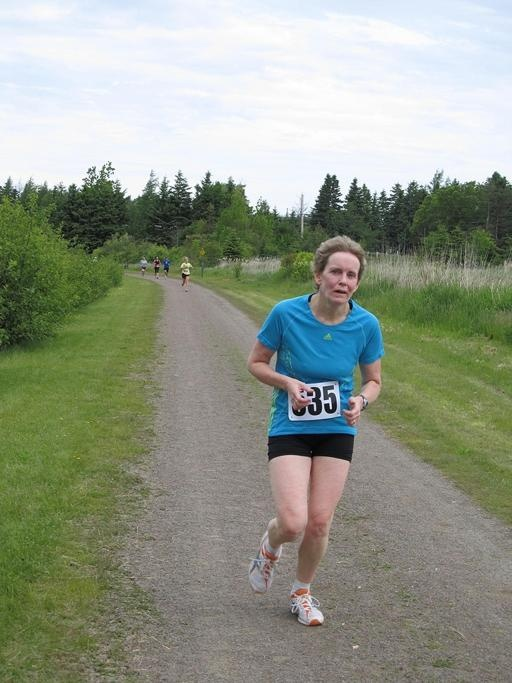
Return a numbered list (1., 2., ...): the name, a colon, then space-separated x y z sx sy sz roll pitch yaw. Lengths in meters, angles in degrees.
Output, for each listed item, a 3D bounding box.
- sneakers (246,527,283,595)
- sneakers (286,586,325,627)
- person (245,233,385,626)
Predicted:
1. sneakers: 0.047 1.230 3.886 0.189 0.385 0.180 14 -10 -17
2. sneakers: 0.278 1.466 3.787 0.128 0.102 0.256 -1 -5 -23
3. person: 0.284 0.511 3.723 0.603 2.147 0.794 12 12 44
